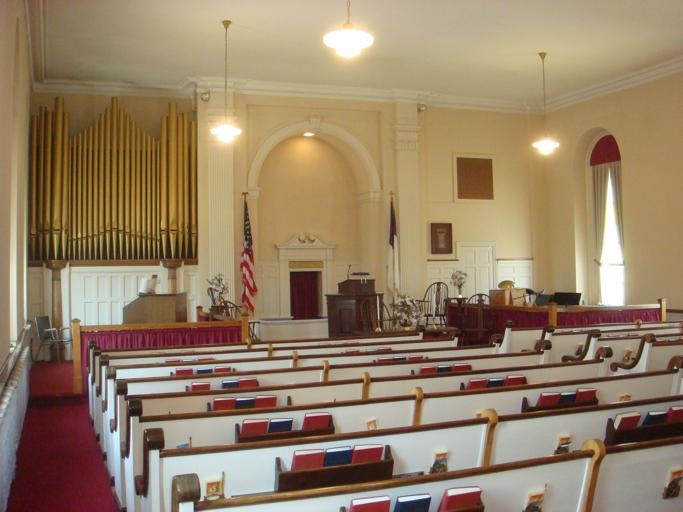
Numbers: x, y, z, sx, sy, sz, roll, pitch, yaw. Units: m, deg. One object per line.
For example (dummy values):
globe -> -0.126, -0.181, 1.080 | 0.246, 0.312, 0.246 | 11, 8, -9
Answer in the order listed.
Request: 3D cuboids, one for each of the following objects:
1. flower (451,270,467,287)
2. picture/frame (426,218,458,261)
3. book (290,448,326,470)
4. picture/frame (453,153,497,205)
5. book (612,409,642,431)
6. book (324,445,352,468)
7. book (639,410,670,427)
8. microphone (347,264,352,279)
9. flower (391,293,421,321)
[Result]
flower -> 2.836, 0.553, 14.128 | 0.331, 0.445, 0.385 | -1, -2, 10
picture/frame -> 2.382, -0.372, 14.148 | 0.913, 1.322, 0.125 | 1, -5, -22
book -> -0.203, 1.248, 3.546 | 0.119, 0.126, 0.048 | 2, 6, -11
picture/frame -> 3.227, -1.924, 14.444 | 1.198, 1.320, 0.089 | 0, -2, -23
book -> 1.962, 1.149, 4.040 | 0.123, 0.128, 0.048 | 0, 17, -6
book -> -0.022, 1.239, 3.574 | 0.120, 0.133, 0.030 | 3, 7, -16
book -> 2.191, 1.146, 4.086 | 0.119, 0.133, 0.030 | 5, 7, -10
microphone -> 0.177, 0.385, 14.298 | 0.113, 0.320, 0.292 | -8, 8, 13
flower -> 1.163, 1.012, 10.912 | 0.689, 0.643, 0.627 | -1, -6, 11
